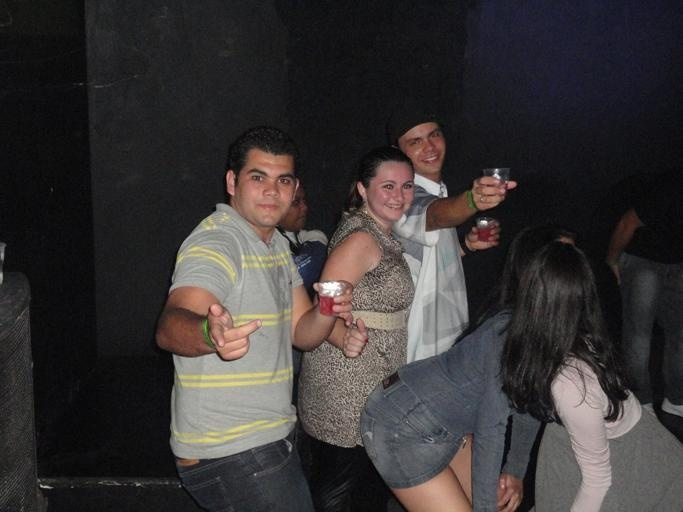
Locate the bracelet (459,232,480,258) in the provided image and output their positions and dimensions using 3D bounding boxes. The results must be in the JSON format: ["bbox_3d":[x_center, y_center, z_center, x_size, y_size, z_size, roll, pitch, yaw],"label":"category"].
[{"bbox_3d":[0.824,-0.066,3.481,0.174,0.099,0.124,1,29,-5],"label":"bracelet"}]

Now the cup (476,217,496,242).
[{"bbox_3d":[0.836,-0.154,3.101,0.146,0.128,0.133,-1,10,0],"label":"cup"}]

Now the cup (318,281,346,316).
[{"bbox_3d":[-0.048,0.181,2.244,0.150,0.113,0.134,7,4,16],"label":"cup"}]

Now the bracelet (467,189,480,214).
[{"bbox_3d":[0.653,-0.278,2.628,0.075,0.081,0.080,-3,7,7],"label":"bracelet"}]

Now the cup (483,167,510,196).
[{"bbox_3d":[0.782,-0.399,2.635,0.113,0.088,0.152,-1,0,13],"label":"cup"}]
